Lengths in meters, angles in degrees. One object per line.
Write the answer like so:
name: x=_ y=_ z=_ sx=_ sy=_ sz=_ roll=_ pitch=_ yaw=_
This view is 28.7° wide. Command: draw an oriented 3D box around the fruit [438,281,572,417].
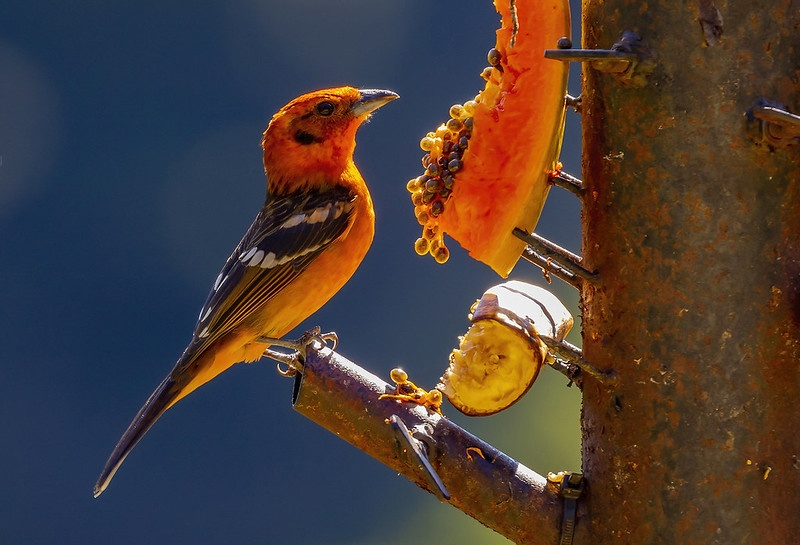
fruit: x=0.341 y=0.247 z=5.125 sx=0.328 sy=0.153 sz=0.453 roll=42 pitch=-72 yaw=-1
